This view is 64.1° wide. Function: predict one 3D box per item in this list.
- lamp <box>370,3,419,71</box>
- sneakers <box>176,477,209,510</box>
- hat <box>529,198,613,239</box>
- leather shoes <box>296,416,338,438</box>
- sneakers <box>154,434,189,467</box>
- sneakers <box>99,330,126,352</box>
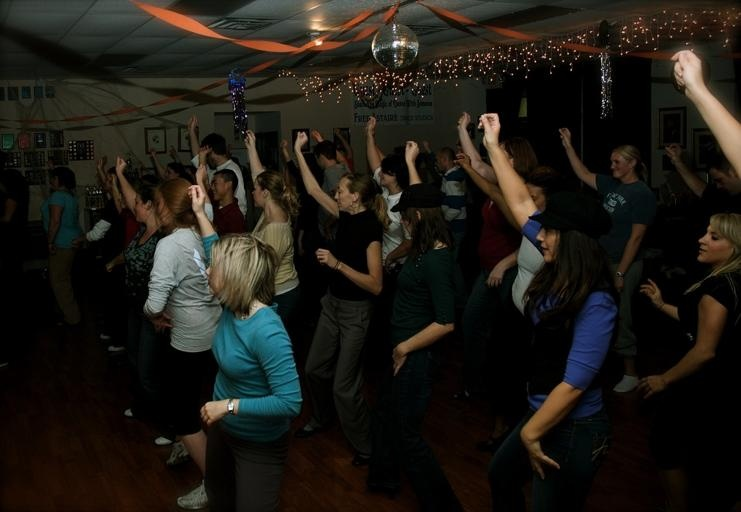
[{"bbox_3d":[0.215,-1.886,5.172,0.436,0.653,0.459,1,4,2],"label":"lamp"},{"bbox_3d":[-1.194,1.608,3.946,0.196,0.120,0.151,-12,13,-11],"label":"sneakers"},{"bbox_3d":[0.973,-0.161,2.807,0.266,0.127,0.201,21,1,6],"label":"hat"},{"bbox_3d":[-0.436,1.344,4.725,0.327,0.138,0.113,-7,9,-30],"label":"leather shoes"},{"bbox_3d":[-1.522,1.430,4.489,0.156,0.144,0.451,-17,15,-31],"label":"sneakers"},{"bbox_3d":[-2.831,0.937,6.502,0.386,0.172,0.133,18,4,-32],"label":"sneakers"}]
